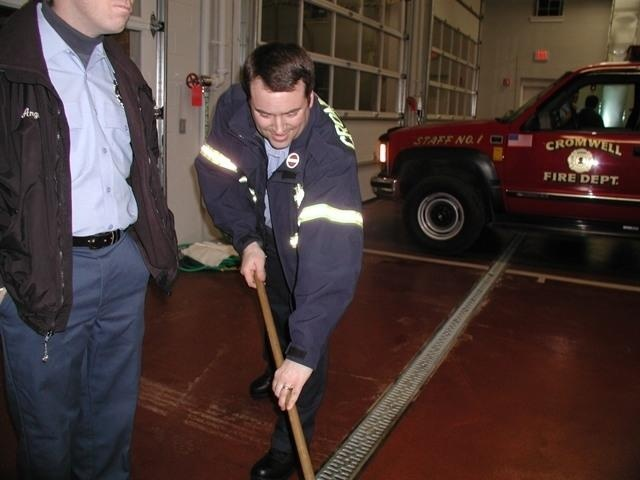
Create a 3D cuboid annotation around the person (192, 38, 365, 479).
[{"bbox_3d":[-0.163,-0.055,2.290,0.559,1.668,1.166,-4,15,-29],"label":"person"}]
